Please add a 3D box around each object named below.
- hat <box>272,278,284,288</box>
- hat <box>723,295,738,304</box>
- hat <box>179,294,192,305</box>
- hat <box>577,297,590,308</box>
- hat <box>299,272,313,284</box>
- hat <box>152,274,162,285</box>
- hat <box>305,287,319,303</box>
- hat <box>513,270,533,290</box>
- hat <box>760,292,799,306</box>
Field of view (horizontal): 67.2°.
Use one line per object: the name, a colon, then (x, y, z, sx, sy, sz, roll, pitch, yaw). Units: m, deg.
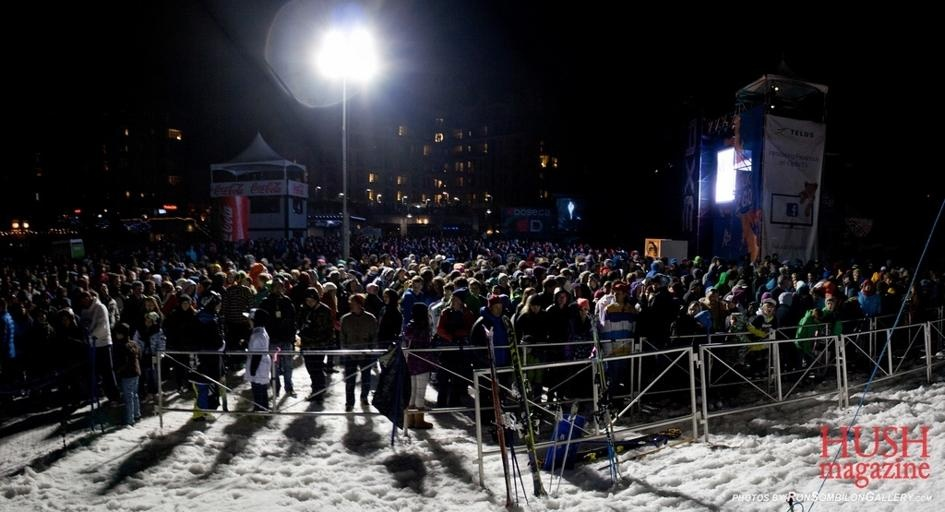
hat: (-6.478, 0.888, 23.607, 0.352, 0.296, 0.370, 0, 1, -21)
hat: (9.216, 1.549, 25.477, 0.424, 0.355, 0.331, 21, 3, 32)
hat: (-9.457, 1.445, 23.422, 0.393, 0.324, 0.361, 0, 1, -23)
hat: (3.755, 1.613, 24.178, 0.376, 0.351, 0.848, 0, 1, 6)
hat: (-5.712, 0.778, 24.863, 0.635, 0.212, 0.453, 22, -3, -35)
hat: (-12.132, 0.920, 27.306, 0.331, 0.358, 0.213, -2, 18, -2)
hat: (-5.317, 1.275, 23.567, 0.425, 0.470, 0.365, 0, 1, -17)
hat: (1.900, 0.910, 25.860, 0.535, 0.576, 0.658, 1, 5, -45)
hat: (10.931, 1.553, 25.418, 1.011, 0.572, 0.816, -7, -10, 38)
